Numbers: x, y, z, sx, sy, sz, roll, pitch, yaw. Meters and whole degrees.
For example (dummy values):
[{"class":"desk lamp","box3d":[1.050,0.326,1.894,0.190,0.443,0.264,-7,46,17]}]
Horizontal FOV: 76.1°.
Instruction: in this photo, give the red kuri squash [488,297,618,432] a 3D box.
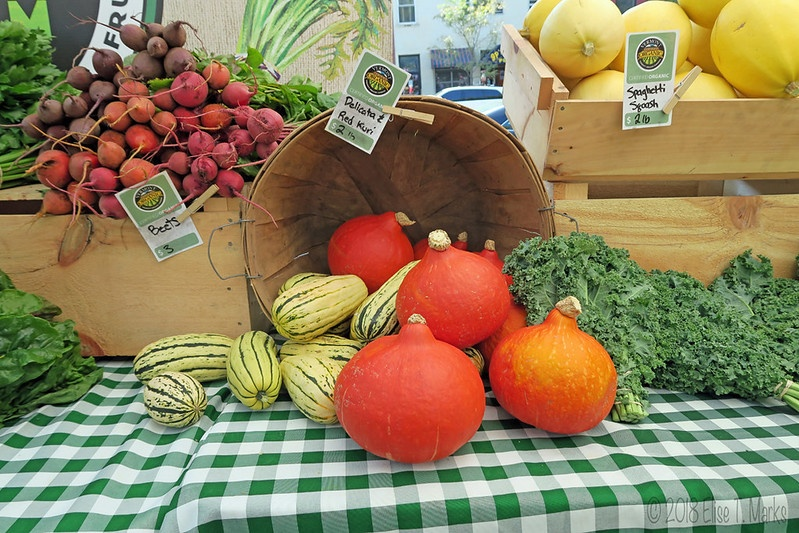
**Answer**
[{"class":"red kuri squash","box3d":[0.503,0.295,1.740,0.356,0.475,0.322,0,17,7]}]

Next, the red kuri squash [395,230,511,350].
[{"class":"red kuri squash","box3d":[0.177,0.078,1.882,0.438,0.435,0.439,5,28,32]}]

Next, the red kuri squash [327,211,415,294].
[{"class":"red kuri squash","box3d":[-0.133,-0.081,2.234,0.348,0.383,0.341,37,0,-14]}]

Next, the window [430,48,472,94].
[{"class":"window","box3d":[0.517,-1.942,5.084,0.400,0.381,0.194,-2,28,-2]}]

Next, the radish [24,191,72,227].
[{"class":"radish","box3d":[-1.372,-0.221,1.998,0.089,0.150,0.075,39,12,-8]}]

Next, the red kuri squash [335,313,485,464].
[{"class":"red kuri squash","box3d":[0.024,0.374,1.570,0.460,0.380,0.252,7,26,13]}]

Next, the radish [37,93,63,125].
[{"class":"radish","box3d":[-1.347,-0.589,1.965,0.109,0.097,0.042,3,25,5]}]
